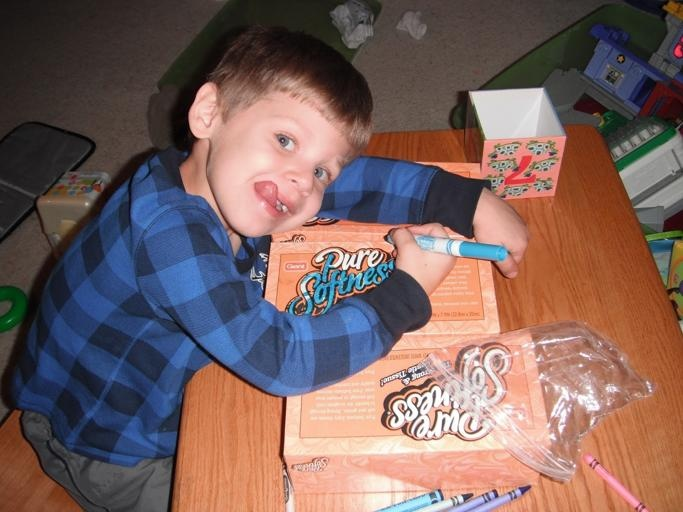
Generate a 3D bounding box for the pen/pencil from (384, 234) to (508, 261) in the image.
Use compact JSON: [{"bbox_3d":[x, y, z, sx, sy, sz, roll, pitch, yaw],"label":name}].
[{"bbox_3d":[0.176,-0.015,0.932,0.183,0.026,0.025,9,-3,41],"label":"pen/pencil"}]
